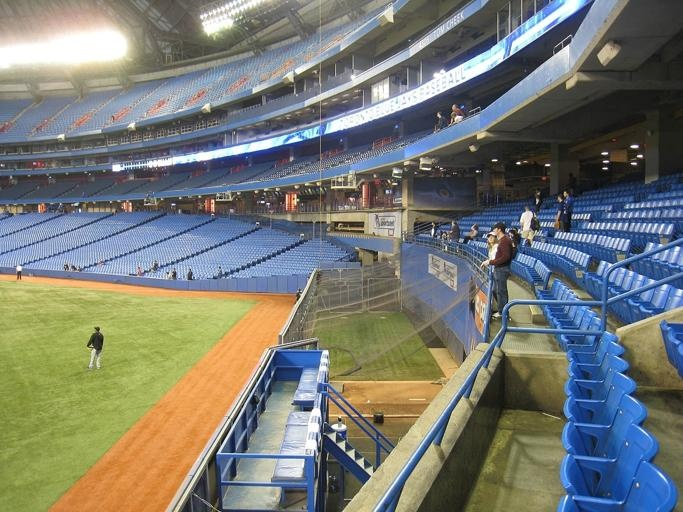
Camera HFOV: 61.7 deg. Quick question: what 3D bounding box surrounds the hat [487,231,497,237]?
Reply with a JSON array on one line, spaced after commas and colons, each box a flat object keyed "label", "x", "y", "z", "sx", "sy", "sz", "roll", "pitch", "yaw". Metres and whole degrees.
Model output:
[{"label": "hat", "x": 2.838, "y": -0.399, "z": 10.660, "sx": 0.172, "sy": 0.046, "sz": 0.160, "roll": -2, "pitch": 0, "yaw": 1}]

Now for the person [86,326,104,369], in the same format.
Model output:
[{"label": "person", "x": -7.258, "y": 2.551, "z": 16.727, "sx": 0.386, "sy": 1.304, "sz": 1.395, "roll": -2, "pitch": 13, "yaw": -24}]

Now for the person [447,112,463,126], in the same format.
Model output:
[{"label": "person", "x": 4.119, "y": -4.829, "z": 20.189, "sx": 0.447, "sy": 0.464, "sz": 1.388, "roll": 5, "pitch": 11, "yaw": 8}]
